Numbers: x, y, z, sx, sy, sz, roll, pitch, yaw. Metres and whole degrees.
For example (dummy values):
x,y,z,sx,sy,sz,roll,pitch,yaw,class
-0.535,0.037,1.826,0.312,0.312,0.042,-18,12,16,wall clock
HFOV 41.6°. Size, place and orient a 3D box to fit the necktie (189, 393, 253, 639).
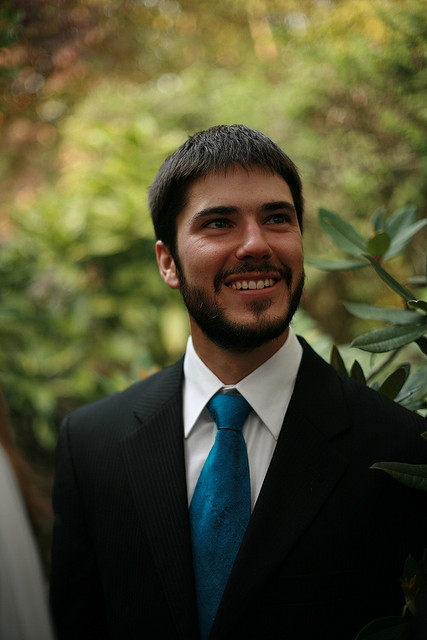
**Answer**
x,y,z,sx,sy,sz,roll,pitch,yaw,class
0.021,0.394,1.224,0.098,0.079,0.524,9,42,7,necktie
